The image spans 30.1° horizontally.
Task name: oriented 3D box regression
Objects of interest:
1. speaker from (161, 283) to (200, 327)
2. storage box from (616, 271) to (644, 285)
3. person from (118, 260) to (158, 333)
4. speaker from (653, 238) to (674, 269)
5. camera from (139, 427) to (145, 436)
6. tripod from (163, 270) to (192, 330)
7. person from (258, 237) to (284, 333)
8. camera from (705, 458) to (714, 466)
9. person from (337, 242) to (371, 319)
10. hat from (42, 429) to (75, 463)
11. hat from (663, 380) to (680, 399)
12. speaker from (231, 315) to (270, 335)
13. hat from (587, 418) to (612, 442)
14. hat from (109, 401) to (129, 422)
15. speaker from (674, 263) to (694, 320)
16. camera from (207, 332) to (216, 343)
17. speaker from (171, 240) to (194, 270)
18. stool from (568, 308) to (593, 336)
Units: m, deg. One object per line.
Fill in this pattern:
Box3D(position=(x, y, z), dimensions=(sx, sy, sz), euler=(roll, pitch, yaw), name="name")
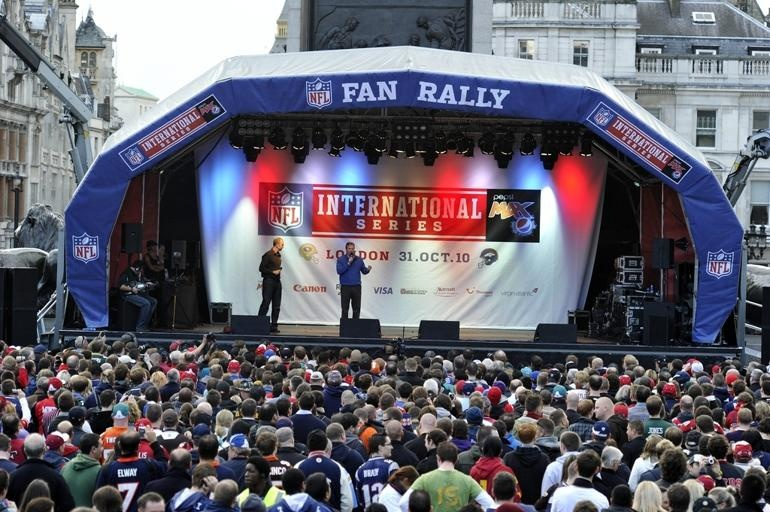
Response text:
Box3D(position=(-5.222, 1.260, 37.127), dimensions=(1.048, 1.390, 1.032), euler=(1, 6, -5), name="speaker")
Box3D(position=(6.337, 0.555, 37.167), dimensions=(0.465, 0.269, 0.441), euler=(1, 3, 10), name="storage box")
Box3D(position=(-6.077, 0.964, 35.634), dimensions=(0.711, 1.759, 1.051), euler=(0, -7, 18), name="person")
Box3D(position=(6.823, -0.089, 35.300), dimensions=(0.487, 0.702, 0.424), euler=(1, -7, 7), name="speaker")
Box3D(position=(-4.391, 3.153, 25.981), dimensions=(0.122, 0.201, 0.090), euler=(4, -7, -20), name="camera")
Box3D(position=(-5.265, 1.160, 37.060), dimensions=(0.592, 1.391, 1.289), euler=(2, -7, -1), name="tripod")
Box3D(position=(-2.951, 0.735, 37.079), dimensions=(0.581, 2.468, 1.555), euler=(2, -7, -5), name="person")
Box3D(position=(5.789, 3.645, 25.602), dimensions=(0.151, 0.191, 0.109), euler=(0, -2, 4), name="camera")
Box3D(position=(-0.859, 0.570, 36.797), dimensions=(0.778, 1.976, 1.005), euler=(2, -7, -2), name="person")
Box3D(position=(-5.969, 3.315, 26.095), dimensions=(0.291, 0.238, 0.459), euler=(7, 20, 29), name="hat")
Box3D(position=(5.649, 2.628, 28.455), dimensions=(0.257, 0.266, 0.336), euler=(6, 20, 17), name="hat")
Box3D(position=(-3.265, 1.650, 34.666), dimensions=(0.775, 0.337, 0.511), euler=(1, 0, -1), name="speaker")
Box3D(position=(3.944, 3.180, 26.310), dimensions=(0.283, 0.207, 0.403), euler=(5, 12, 6), name="hat")
Box3D(position=(-4.842, 2.834, 26.365), dimensions=(0.312, 0.331, 0.277), euler=(3, -7, -11), name="hat")
Box3D(position=(7.384, 0.862, 35.511), dimensions=(0.438, 1.419, 0.222), euler=(1, -7, 8), name="speaker")
Box3D(position=(-3.892, 1.803, 32.064), dimensions=(0.168, 0.145, 0.276), euler=(5, 2, -9), name="camera")
Box3D(position=(-5.311, -0.052, 37.371), dimensions=(0.458, 0.725, 0.894), euler=(2, -7, -6), name="speaker")
Box3D(position=(5.242, 1.696, 38.249), dimensions=(0.906, 0.833, 0.659), euler=(2, -4, -40), name="stool")
